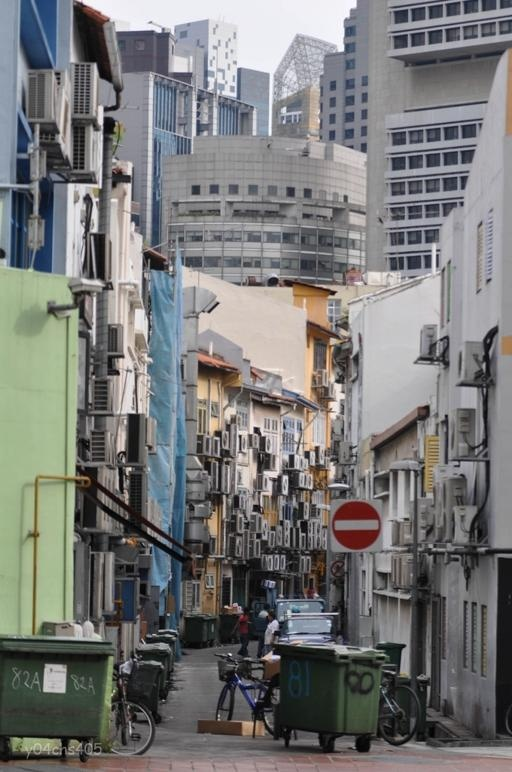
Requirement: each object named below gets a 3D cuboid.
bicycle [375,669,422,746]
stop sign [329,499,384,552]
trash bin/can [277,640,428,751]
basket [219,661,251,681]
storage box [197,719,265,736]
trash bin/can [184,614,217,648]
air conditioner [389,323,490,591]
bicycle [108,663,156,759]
[{"bbox_3d":[1.857,4.241,23.985,0.492,0.897,1.252,1,-12,-10],"label":"bicycle"},{"bbox_3d":[1.064,1.442,19.188,0.545,0.574,0.478,3,-9,2],"label":"stop sign"},{"bbox_3d":[1.231,3.694,22.380,1.518,1.757,1.171,3,-2,-32],"label":"trash bin/can"},{"bbox_3d":[-0.302,3.937,25.709,0.351,0.354,0.306,-1,-5,2],"label":"basket"},{"bbox_3d":[-0.274,4.633,25.007,0.547,0.223,1.466,11,-13,-30],"label":"storage box"},{"bbox_3d":[-1.993,8.386,63.510,0.683,1.209,1.301,1,-2,8],"label":"trash bin/can"},{"bbox_3d":[3.666,1.488,36.169,0.777,7.043,1.291,-4,-6,-11],"label":"air conditioner"},{"bbox_3d":[-1.468,3.807,21.697,0.359,1.074,0.485,-1,-2,-6],"label":"bicycle"}]
